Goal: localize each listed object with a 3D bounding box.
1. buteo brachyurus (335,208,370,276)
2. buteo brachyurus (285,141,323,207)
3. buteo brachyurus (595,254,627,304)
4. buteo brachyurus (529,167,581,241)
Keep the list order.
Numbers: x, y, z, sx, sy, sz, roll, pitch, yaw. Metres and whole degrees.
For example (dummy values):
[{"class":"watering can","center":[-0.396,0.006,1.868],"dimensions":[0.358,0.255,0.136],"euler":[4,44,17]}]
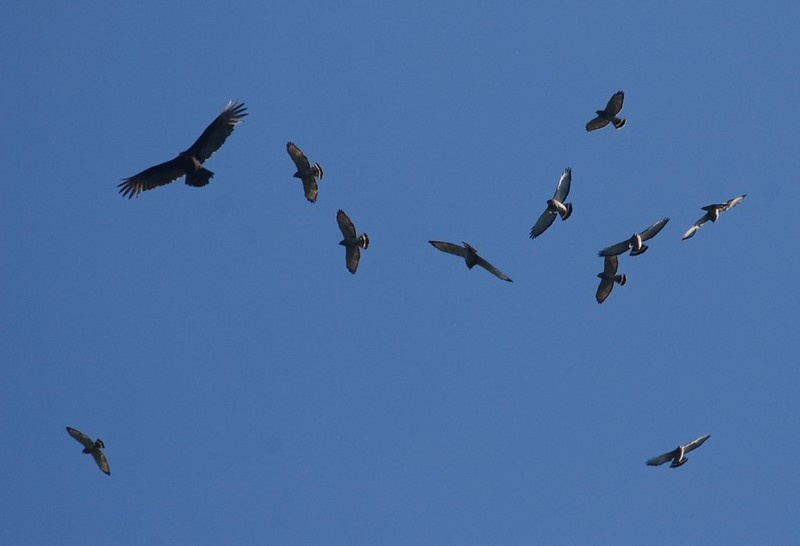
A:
[{"class":"buteo brachyurus","center":[-0.669,-0.459,25.858],"dimensions":[0.421,0.113,1.097],"euler":[-8,-53,3]},{"class":"buteo brachyurus","center":[-1.336,-1.458,26.035],"dimensions":[0.471,0.113,1.102],"euler":[-9,-54,20]},{"class":"buteo brachyurus","center":[3.026,0.048,25.913],"dimensions":[0.409,0.113,0.979],"euler":[3,-50,-10]},{"class":"buteo brachyurus","center":[2.182,-0.774,25.465],"dimensions":[0.363,0.913,1.227],"euler":[17,-55,-15]}]
